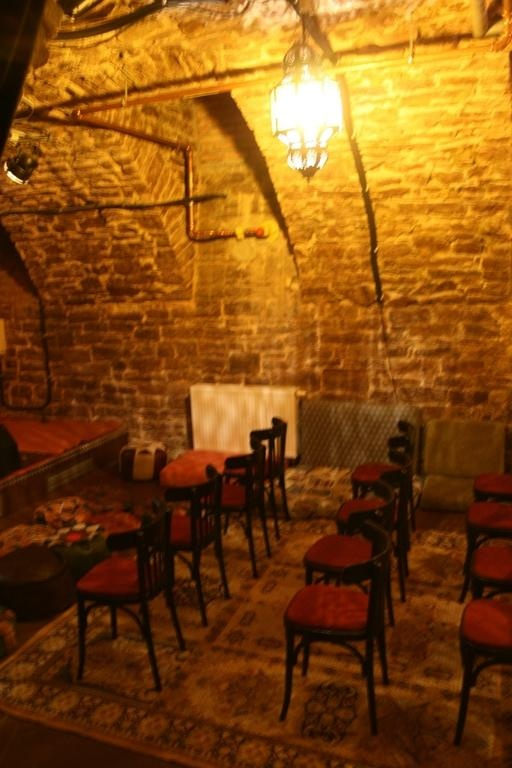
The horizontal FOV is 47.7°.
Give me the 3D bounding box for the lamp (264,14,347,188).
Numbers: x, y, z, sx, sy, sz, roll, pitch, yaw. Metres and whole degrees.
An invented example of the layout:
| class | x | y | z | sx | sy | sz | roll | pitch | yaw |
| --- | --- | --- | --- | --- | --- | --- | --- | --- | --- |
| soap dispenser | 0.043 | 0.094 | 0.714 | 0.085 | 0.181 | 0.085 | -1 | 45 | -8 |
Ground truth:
| class | x | y | z | sx | sy | sz | roll | pitch | yaw |
| --- | --- | --- | --- | --- | --- | --- | --- | --- | --- |
| lamp | 0.262 | -1.479 | 3.067 | 0.367 | 0.705 | 0.273 | 0 | 11 | 11 |
